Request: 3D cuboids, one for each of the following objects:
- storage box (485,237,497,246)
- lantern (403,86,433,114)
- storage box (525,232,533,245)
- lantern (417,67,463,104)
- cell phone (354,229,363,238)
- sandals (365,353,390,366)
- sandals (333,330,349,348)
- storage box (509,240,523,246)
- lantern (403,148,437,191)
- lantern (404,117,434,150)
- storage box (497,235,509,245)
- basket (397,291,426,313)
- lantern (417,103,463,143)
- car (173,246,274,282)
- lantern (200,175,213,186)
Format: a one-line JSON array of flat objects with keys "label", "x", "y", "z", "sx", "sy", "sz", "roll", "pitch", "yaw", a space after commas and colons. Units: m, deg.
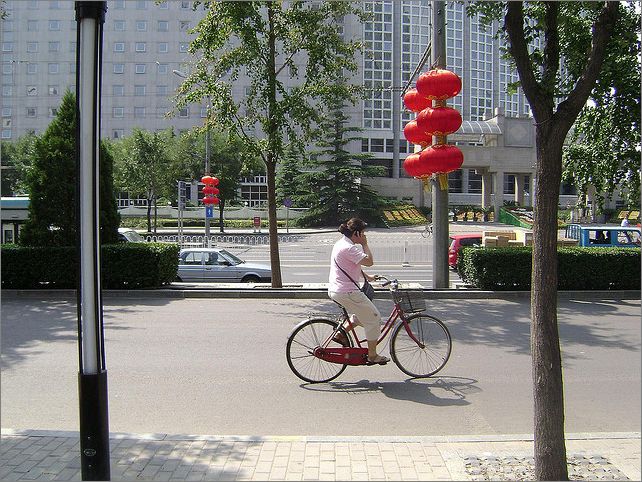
[{"label": "storage box", "x": 5.564, "y": 0.006, "z": 33.463, "sx": 0.382, "sy": 0.328, "sz": 0.266, "roll": 0, "pitch": -2, "yaw": -3}, {"label": "lantern", "x": 2.405, "y": -3.563, "z": 25.597, "sx": 0.602, "sy": 0.624, "sz": 0.664, "roll": -1, "pitch": 3, "yaw": -2}, {"label": "storage box", "x": 6.929, "y": -0.076, "z": 34.103, "sx": 0.265, "sy": 0.405, "sz": 0.473, "roll": 0, "pitch": 4, "yaw": 19}, {"label": "lantern", "x": 2.863, "y": -3.853, "z": 24.990, "sx": 1.066, "sy": 0.755, "sz": 0.573, "roll": 0, "pitch": 3, "yaw": 7}, {"label": "cell phone", "x": 0.745, "y": -0.160, "z": 20.778, "sx": 0.108, "sy": 0.131, "sz": 0.141, "roll": 15, "pitch": 28, "yaw": 26}, {"label": "sandals", "x": 1.133, "y": 2.416, "z": 20.803, "sx": 0.433, "sy": 0.164, "sz": 0.212, "roll": -2, "pitch": 4, "yaw": 2}, {"label": "sandals", "x": 0.423, "y": 1.995, "z": 20.838, "sx": 0.169, "sy": 0.180, "sz": 0.484, "roll": 5, "pitch": 17, "yaw": 23}, {"label": "storage box", "x": 6.577, "y": 0.051, "z": 34.404, "sx": 0.500, "sy": 0.129, "sz": 1.438, "roll": 0, "pitch": 2, "yaw": 10}, {"label": "lantern", "x": 2.631, "y": -1.874, "z": 26.418, "sx": 0.937, "sy": 1.156, "sz": 0.858, "roll": -8, "pitch": -2, "yaw": -9}, {"label": "lantern", "x": 2.441, "y": -2.739, "z": 26.114, "sx": 0.786, "sy": 0.777, "sz": 0.735, "roll": -2, "pitch": 5, "yaw": -1}, {"label": "storage box", "x": 5.969, "y": -0.036, "z": 33.511, "sx": 0.335, "sy": 0.286, "sz": 0.308, "roll": 0, "pitch": 7, "yaw": -12}, {"label": "basket", "x": 1.880, "y": 1.238, "z": 20.907, "sx": 0.771, "sy": 0.477, "sz": 0.409, "roll": -1, "pitch": -3, "yaw": -12}, {"label": "lantern", "x": 2.890, "y": -2.982, "z": 25.197, "sx": 1.099, "sy": 0.746, "sz": 0.478, "roll": 0, "pitch": 3, "yaw": 5}, {"label": "car", "x": -3.238, "y": 0.737, "z": 30.926, "sx": 3.442, "sy": 0.981, "sz": 1.385, "roll": 1, "pitch": 11, "yaw": -1}, {"label": "lantern", "x": -5.034, "y": -2.714, "z": 45.026, "sx": 0.560, "sy": 0.256, "sz": 0.529, "roll": -3, "pitch": 0, "yaw": 9}]
